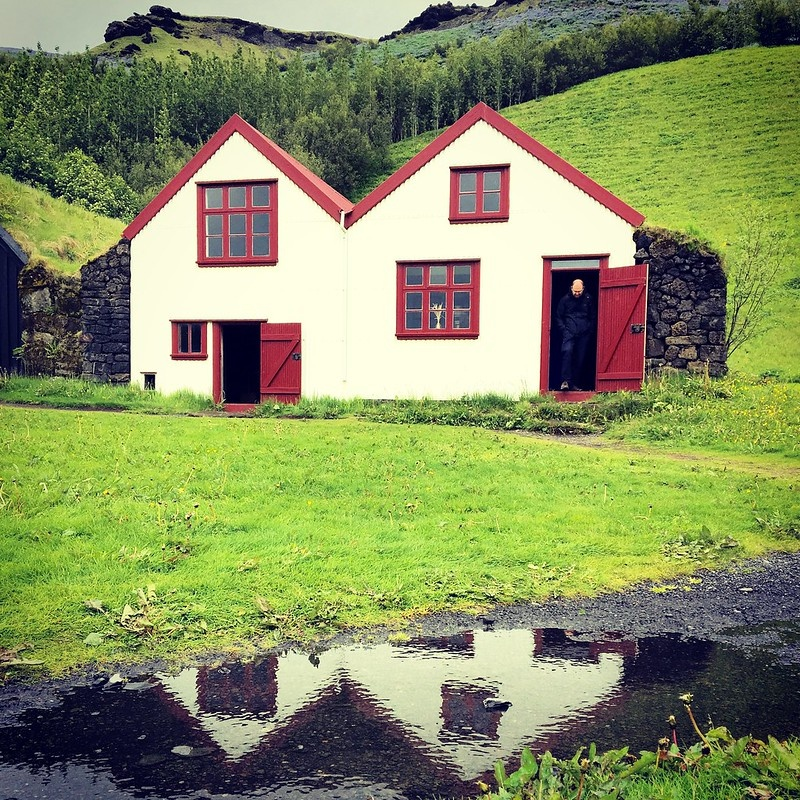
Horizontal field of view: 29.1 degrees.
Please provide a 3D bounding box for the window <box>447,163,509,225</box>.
[{"bbox_3d":[2.557,-6.688,49.569,1.481,1.739,0.180,1,-1,14],"label":"window"}]

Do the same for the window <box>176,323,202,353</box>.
[{"bbox_3d":[-7.042,-2.119,51.612,0.723,1.143,0.068,-1,-2,10],"label":"window"}]

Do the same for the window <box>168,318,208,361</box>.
[{"bbox_3d":[-7.071,-2.051,51.497,1.022,1.331,0.321,-1,-2,10],"label":"window"}]

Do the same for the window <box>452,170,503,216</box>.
[{"bbox_3d":[2.523,-6.737,49.621,1.090,1.292,0.131,1,0,14],"label":"window"}]

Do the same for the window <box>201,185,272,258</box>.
[{"bbox_3d":[-5.340,-6.028,51.247,1.783,2.280,0.217,0,0,11],"label":"window"}]

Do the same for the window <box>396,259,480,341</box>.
[{"bbox_3d":[1.301,-3.276,49.851,1.932,2.319,0.304,1,0,10],"label":"window"}]
